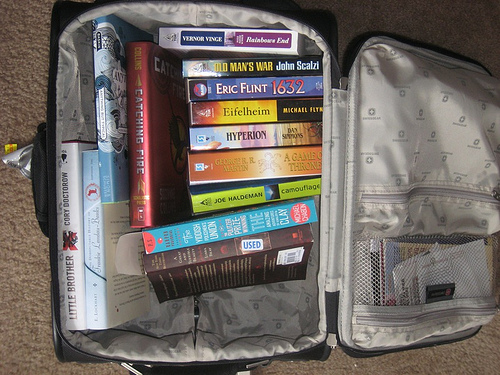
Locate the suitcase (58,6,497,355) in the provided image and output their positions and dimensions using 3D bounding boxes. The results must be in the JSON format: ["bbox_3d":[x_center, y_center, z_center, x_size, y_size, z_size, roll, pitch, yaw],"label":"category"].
[{"bbox_3d":[0.063,0.038,1.423,1.214,0.445,0.944,10,70,2],"label":"suitcase"}]

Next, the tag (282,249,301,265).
[{"bbox_3d":[0.111,0.189,1.484,0.042,0.047,0.005,8,34,-23],"label":"tag"}]

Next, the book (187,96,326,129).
[{"bbox_3d":[-0.020,-0.240,1.628,0.310,0.339,0.081,0,100,13],"label":"book"}]

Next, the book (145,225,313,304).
[{"bbox_3d":[-0.065,0.220,1.486,0.281,0.282,0.073,-15,81,-1],"label":"book"}]

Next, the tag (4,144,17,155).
[{"bbox_3d":[-0.785,-0.126,1.786,0.043,0.046,0.036,1,85,-4],"label":"tag"}]
